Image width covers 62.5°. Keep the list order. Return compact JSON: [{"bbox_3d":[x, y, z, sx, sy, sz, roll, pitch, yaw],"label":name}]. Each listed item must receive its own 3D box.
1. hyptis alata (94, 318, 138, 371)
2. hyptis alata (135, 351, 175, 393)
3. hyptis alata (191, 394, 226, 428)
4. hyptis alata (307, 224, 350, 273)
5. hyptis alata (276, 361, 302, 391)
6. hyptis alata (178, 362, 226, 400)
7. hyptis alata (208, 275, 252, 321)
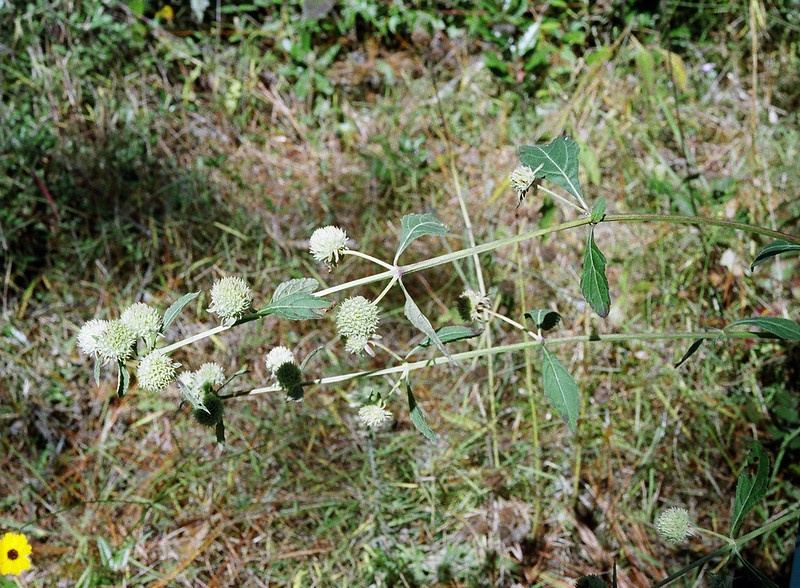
[{"bbox_3d":[-0.958,0.171,2.264,0.123,0.147,0.129,-4,40,-9],"label":"hyptis alata"},{"bbox_3d":[-0.840,0.258,2.294,0.135,0.138,0.156,-4,85,35],"label":"hyptis alata"},{"bbox_3d":[-0.710,0.427,2.428,0.114,0.062,0.146,-5,77,14],"label":"hyptis alata"},{"bbox_3d":[-0.255,-0.156,2.359,0.123,0.134,0.165,-2,48,-2],"label":"hyptis alata"},{"bbox_3d":[-0.406,0.296,2.391,0.078,0.096,0.072,-2,84,-2],"label":"hyptis alata"},{"bbox_3d":[-0.736,0.327,2.467,0.080,0.140,0.134,8,84,-34],"label":"hyptis alata"},{"bbox_3d":[-0.624,0.016,2.421,0.131,0.138,0.136,-37,76,6],"label":"hyptis alata"}]
